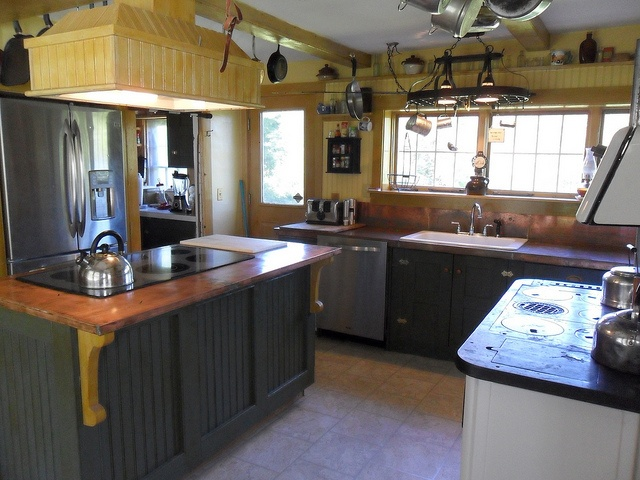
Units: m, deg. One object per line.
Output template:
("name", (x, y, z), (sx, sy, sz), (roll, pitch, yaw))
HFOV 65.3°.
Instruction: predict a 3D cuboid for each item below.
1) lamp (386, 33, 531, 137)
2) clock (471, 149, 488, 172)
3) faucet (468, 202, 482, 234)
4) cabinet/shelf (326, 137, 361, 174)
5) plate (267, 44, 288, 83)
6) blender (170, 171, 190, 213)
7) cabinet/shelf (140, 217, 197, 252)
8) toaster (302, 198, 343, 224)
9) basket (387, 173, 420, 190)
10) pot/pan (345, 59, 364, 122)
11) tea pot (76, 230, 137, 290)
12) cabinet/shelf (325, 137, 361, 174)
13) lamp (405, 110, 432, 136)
("lamp", (1.145, -1.316, 4.241), (1.125, 0.839, 0.794), (1, 5, 28))
("clock", (1.513, -0.745, 4.732), (0.117, 0.185, 0.168), (9, 17, 31))
("faucet", (1.470, -0.206, 4.726), (0.111, 0.295, 0.140), (4, 15, 17))
("cabinet/shelf", (0.255, -0.907, 5.324), (0.382, 0.365, 0.155), (10, 13, 44))
("plate", (-0.366, -1.493, 4.264), (0.053, 0.318, 0.216), (1, 15, 29))
("blender", (-1.741, -0.612, 6.263), (0.214, 0.487, 0.399), (-8, 16, -28))
("cabinet/shelf", (-1.702, -0.089, 5.683), (0.354, 0.340, 0.196), (7, 17, 22))
("toaster", (0.026, -0.284, 5.108), (0.363, 0.259, 0.246), (3, 4, 28))
("basket", (0.853, -0.607, 5.216), (0.307, 0.165, 0.149), (4, 15, 16))
("pot/pan", (0.320, -1.385, 4.589), (0.078, 0.521, 0.315), (3, 13, 15))
("tea pot", (-1.187, 0.099, 2.796), (0.280, 0.317, 0.304), (1, 3, 0))
("cabinet/shelf", (0.258, -0.902, 5.318), (0.382, 0.368, 0.149), (9, 9, 40))
("lamp", (0.931, -1.089, 4.721), (0.194, 0.267, 0.163), (6, -10, -14))
